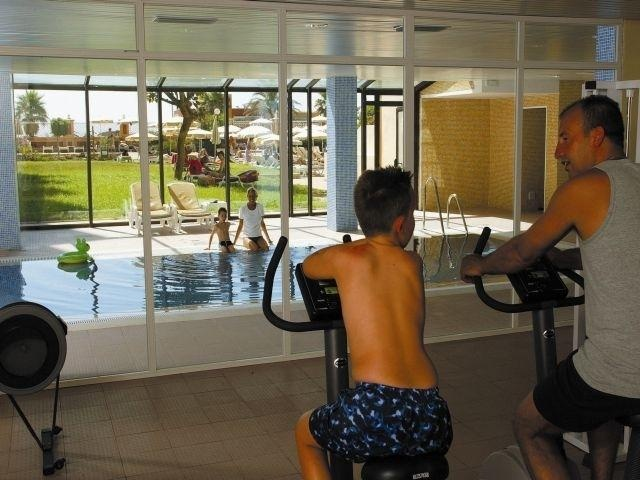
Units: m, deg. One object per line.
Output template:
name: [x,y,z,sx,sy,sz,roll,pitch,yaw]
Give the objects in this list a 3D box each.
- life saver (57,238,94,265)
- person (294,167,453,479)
life saver: [-2.105,0.102,4.378,0.259,0.232,0.189,1,4,-22]
person: [0.174,0.340,1.785,0.522,1.173,0.453,-2,8,-6]
